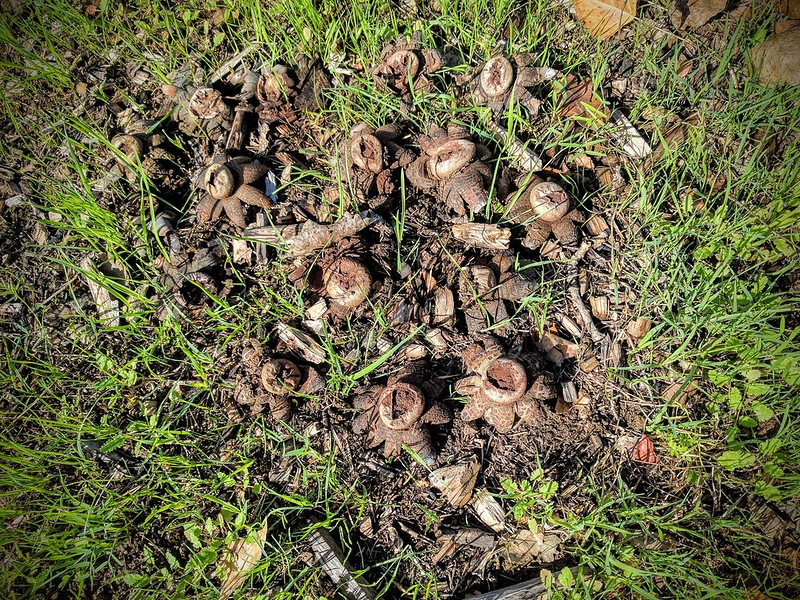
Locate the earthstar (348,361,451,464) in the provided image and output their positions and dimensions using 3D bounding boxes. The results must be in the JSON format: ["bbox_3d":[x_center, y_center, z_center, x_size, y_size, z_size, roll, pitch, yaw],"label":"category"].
[{"bbox_3d":[0.019,0.724,4.226,0.665,0.342,0.665,11,84,3],"label":"earthstar"}]

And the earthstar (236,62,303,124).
[{"bbox_3d":[-0.917,-1.455,4.553,0.408,0.155,0.427,31,100,10],"label":"earthstar"}]

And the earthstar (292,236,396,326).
[{"bbox_3d":[-0.367,-0.140,4.353,0.734,0.311,0.489,-23,83,-1],"label":"earthstar"}]

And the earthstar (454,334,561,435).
[{"bbox_3d":[0.669,0.544,4.148,0.530,0.203,0.598,3,84,11],"label":"earthstar"}]

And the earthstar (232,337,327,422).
[{"bbox_3d":[-0.836,0.494,4.382,0.546,0.241,0.675,-23,119,-2],"label":"earthstar"}]

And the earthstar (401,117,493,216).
[{"bbox_3d":[0.342,-0.922,4.403,0.596,0.706,0.311,9,81,-12],"label":"earthstar"}]

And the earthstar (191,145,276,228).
[{"bbox_3d":[-1.150,-0.764,4.435,0.473,0.201,0.520,19,99,4],"label":"earthstar"}]

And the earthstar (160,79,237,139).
[{"bbox_3d":[-1.448,-1.364,4.597,0.538,0.216,0.324,26,85,4],"label":"earthstar"}]

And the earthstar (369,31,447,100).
[{"bbox_3d":[0.044,-1.654,4.481,0.456,0.201,0.441,-42,84,-3],"label":"earthstar"}]

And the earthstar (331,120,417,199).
[{"bbox_3d":[-0.195,-0.972,4.350,0.138,0.440,0.509,-16,82,7],"label":"earthstar"}]

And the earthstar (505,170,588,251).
[{"bbox_3d":[1.037,-0.538,4.343,0.442,0.424,0.148,-19,75,-39],"label":"earthstar"}]
